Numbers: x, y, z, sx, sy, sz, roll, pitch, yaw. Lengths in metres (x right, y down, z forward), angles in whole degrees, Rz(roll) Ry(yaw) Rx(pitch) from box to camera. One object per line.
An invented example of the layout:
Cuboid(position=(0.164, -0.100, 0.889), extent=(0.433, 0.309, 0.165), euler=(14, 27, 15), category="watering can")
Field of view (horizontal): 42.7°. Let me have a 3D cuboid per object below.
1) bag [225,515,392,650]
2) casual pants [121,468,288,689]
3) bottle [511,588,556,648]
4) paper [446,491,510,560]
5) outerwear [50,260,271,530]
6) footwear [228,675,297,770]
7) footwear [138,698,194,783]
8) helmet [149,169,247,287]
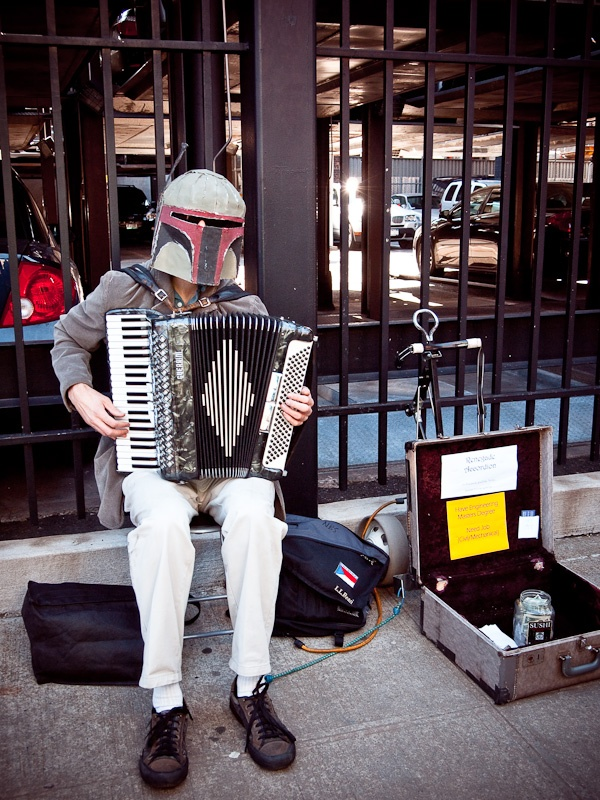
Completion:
Cuboid(position=(0.041, 0.629, 2.931), extent=(0.440, 0.473, 0.384), euler=(4, 9, -22), category="bag")
Cuboid(position=(-0.282, 0.558, 2.386), extent=(0.475, 0.624, 0.526), euler=(-4, 11, -13), category="casual pants")
Cuboid(position=(0.843, 0.788, 2.762), extent=(0.146, 0.212, 0.211), euler=(1, 5, 11), category="bottle")
Cuboid(position=(0.655, 0.463, 2.862), extent=(0.244, 0.239, 0.027), euler=(-7, 10, -26), category="paper")
Cuboid(position=(-0.679, 0.000, 2.865), extent=(0.837, 0.856, 0.281), euler=(0, -1, -11), category="outerwear")
Cuboid(position=(-0.102, 0.938, 2.239), extent=(0.096, 0.122, 0.281), euler=(-6, 4, -13), category="footwear")
Cuboid(position=(-0.376, 0.958, 2.117), extent=(0.133, 0.145, 0.193), euler=(-3, 10, -10), category="footwear")
Cuboid(position=(-0.359, -0.597, 2.631), extent=(0.281, 0.382, 0.357), euler=(6, 7, -23), category="helmet")
